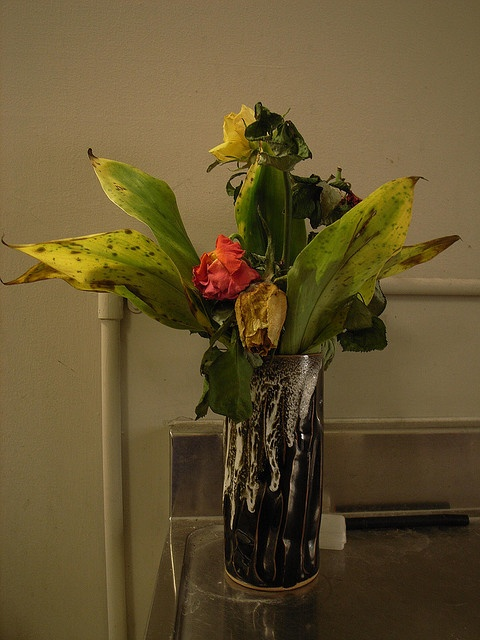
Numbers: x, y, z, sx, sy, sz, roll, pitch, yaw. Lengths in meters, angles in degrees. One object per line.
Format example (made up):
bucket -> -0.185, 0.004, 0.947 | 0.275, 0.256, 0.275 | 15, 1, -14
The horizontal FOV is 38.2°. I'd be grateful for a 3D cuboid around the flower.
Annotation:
flower -> 0.020, 0.036, 1.088 | 0.667, 0.588, 0.646 | 0, 1, 8
